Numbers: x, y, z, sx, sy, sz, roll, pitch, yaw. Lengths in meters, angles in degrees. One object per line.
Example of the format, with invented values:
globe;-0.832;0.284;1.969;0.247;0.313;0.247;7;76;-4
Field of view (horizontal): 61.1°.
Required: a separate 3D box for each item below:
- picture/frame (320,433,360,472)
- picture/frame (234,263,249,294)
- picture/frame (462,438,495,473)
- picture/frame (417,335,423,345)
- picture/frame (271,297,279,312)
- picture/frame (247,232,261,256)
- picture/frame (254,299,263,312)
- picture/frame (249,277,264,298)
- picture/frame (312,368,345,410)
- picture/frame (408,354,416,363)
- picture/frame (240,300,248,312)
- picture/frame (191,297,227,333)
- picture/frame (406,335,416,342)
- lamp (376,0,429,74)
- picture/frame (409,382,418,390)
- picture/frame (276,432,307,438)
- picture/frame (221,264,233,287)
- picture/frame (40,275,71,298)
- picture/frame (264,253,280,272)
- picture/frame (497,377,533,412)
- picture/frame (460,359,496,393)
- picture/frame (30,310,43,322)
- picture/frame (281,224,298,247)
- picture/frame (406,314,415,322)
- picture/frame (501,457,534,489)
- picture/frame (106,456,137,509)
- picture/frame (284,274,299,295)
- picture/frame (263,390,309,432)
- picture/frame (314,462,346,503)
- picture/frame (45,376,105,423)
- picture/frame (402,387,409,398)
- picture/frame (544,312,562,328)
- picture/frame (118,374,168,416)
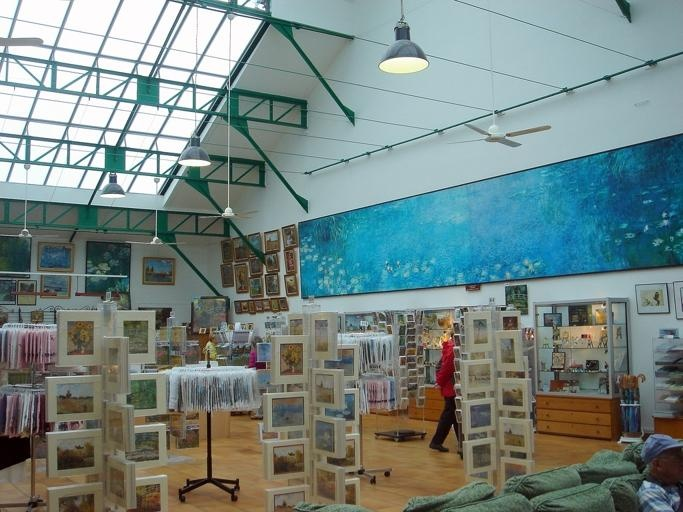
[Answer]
picture/frame;-0.044;2.182;6.383;0.284;0.539;0.514;4;-2;17
picture/frame;-3.857;0.890;22.528;0.123;1.133;1.028;10;-15;-37
picture/frame;1.754;2.574;7.448;0.492;0.362;0.066;2;-5;-42
picture/frame;1.836;2.009;13.727;0.053;0.206;0.213;3;-2;15
picture/frame;-2.356;1.753;20.670;0.063;0.498;0.489;3;-8;-37
picture/frame;-3.230;-0.446;21.584;0.069;0.882;0.827;2;-7;-35
picture/frame;-3.064;1.867;21.547;0.046;0.401;0.454;2;-7;-36
picture/frame;-3.133;1.192;21.615;0.083;0.661;0.758;5;-8;-39
picture/frame;-0.147;1.472;6.375;0.076;0.428;0.453;6;-9;-42
picture/frame;1.613;2.400;13.386;0.173;0.178;0.065;2;-7;-15
picture/frame;-3.730;1.958;22.360;0.036;0.430;0.430;4;-7;-37
picture/frame;-5.067;2.322;22.447;1.325;1.252;0.186;-2;-7;14
picture/frame;1.604;1.945;13.469;0.155;0.106;0.158;-2;-3;16
lamp;0.869;-3.145;8.382;0.594;0.926;0.643;6;-12;-43
picture/frame;1.534;2.825;12.472;0.199;0.127;0.106;5;-11;-22
picture/frame;-0.557;2.068;6.664;0.151;0.035;0.149;6;-9;-35
picture/frame;-4.620;0.804;23.484;0.091;0.900;0.849;6;-9;-39
picture/frame;-10.253;1.132;20.750;1.065;1.025;0.108;2;-6;-29
picture/frame;-2.466;0.245;20.658;0.088;0.636;0.654;3;-5;-42
picture/frame;2.249;1.825;7.582;0.422;0.420;0.152;-6;-9;43
picture/frame;1.755;1.574;7.543;0.448;0.340;0.060;3;-6;-37
picture/frame;-10.617;2.142;20.253;0.065;0.337;0.365;-16;-14;37
picture/frame;-1.752;-0.668;19.727;0.103;0.772;0.735;7;-10;-38
picture/frame;1.604;1.450;13.683;0.164;0.173;0.239;-6;5;-5
picture/frame;2.230;2.803;7.481;0.157;0.375;0.558;5;-11;-37
picture/frame;-2.081;2.155;5.497;0.478;0.574;0.081;12;15;44
picture/frame;-1.684;0.990;19.706;0.071;0.691;0.678;1;-6;-36
picture/frame;-0.614;1.742;6.431;0.458;0.382;0.148;1;-6;-26
picture/frame;-0.120;2.478;6.312;0.076;0.405;0.464;0;-4;-35
picture/frame;-2.601;1.405;5.670;0.473;0.403;0.060;2;-9;-34
picture/frame;1.328;2.866;12.060;0.165;0.244;0.165;1;-5;-17
picture/frame;4.417;1.364;12.160;0.313;0.262;0.043;-5;-14;34
picture/frame;-1.991;1.389;5.778;0.518;0.451;0.051;-1;-2;-36
